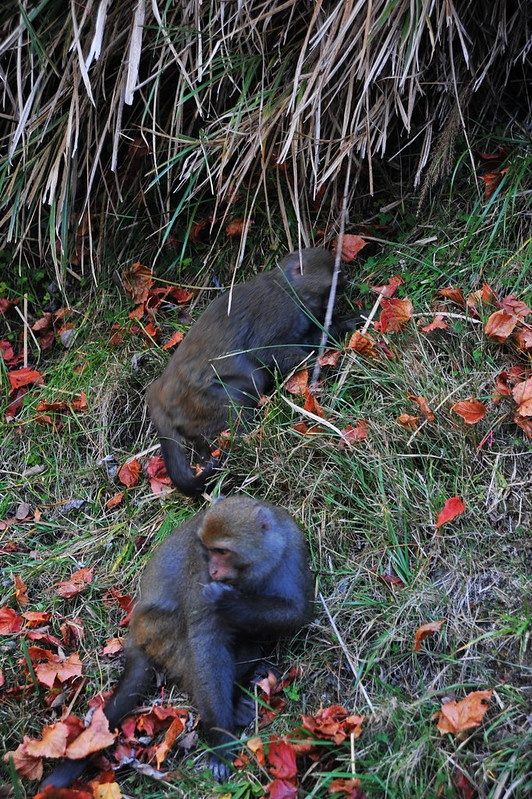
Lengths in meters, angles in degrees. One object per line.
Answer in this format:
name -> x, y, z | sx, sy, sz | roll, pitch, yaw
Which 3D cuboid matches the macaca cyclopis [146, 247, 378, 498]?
macaca cyclopis -> -0.084, -0.263, 3.598 | 0.637, 1.390, 0.767 | 37, 6, -18
